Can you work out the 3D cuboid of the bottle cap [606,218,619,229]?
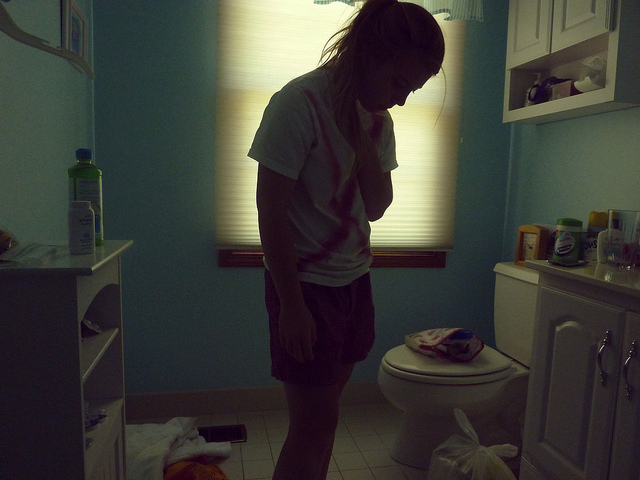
[{"bbox_3d":[1.144,-0.061,1.974,0.029,0.034,0.029,0,4,-16],"label":"bottle cap"}]

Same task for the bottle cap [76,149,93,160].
[{"bbox_3d":[-0.781,-0.284,1.672,0.048,0.032,0.055,-8,12,-29],"label":"bottle cap"}]

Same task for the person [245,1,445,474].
[{"bbox_3d":[0.070,-0.006,1.477,0.519,1.287,0.238,-6,11,-22],"label":"person"}]

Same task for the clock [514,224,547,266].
[{"bbox_3d":[1.054,0.030,2.527,0.144,0.203,0.100,3,11,24],"label":"clock"}]

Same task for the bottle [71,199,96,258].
[{"bbox_3d":[-0.731,-0.034,1.545,0.072,0.162,0.033,-7,12,-28],"label":"bottle"}]

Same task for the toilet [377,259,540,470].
[{"bbox_3d":[0.684,0.570,2.438,0.800,0.917,0.519,0,8,-12],"label":"toilet"}]

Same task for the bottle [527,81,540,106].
[{"bbox_3d":[1.037,-0.713,2.458,0.048,0.111,0.063,1,11,16],"label":"bottle"}]

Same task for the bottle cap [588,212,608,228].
[{"bbox_3d":[1.207,-0.086,2.189,0.065,0.073,0.072,1,2,-10],"label":"bottle cap"}]
